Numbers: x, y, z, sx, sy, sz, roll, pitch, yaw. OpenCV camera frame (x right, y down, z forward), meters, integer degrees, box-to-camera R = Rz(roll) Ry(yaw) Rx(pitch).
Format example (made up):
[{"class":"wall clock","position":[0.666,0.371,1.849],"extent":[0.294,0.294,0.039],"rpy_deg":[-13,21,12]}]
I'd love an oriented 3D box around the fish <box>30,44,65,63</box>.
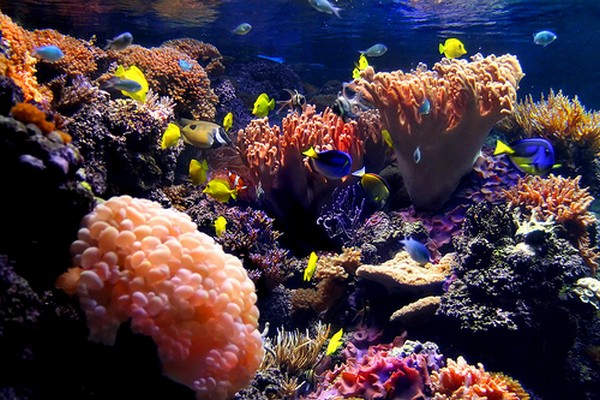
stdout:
[{"class":"fish","position":[-4.338,-2.495,9.200],"extent":[0.452,0.368,0.292],"rpy_deg":[-1,39,-11]}]

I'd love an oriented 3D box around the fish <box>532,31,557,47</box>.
[{"class":"fish","position":[5.844,-3.849,12.728],"extent":[0.343,0.402,0.400],"rpy_deg":[-10,42,-21]}]
